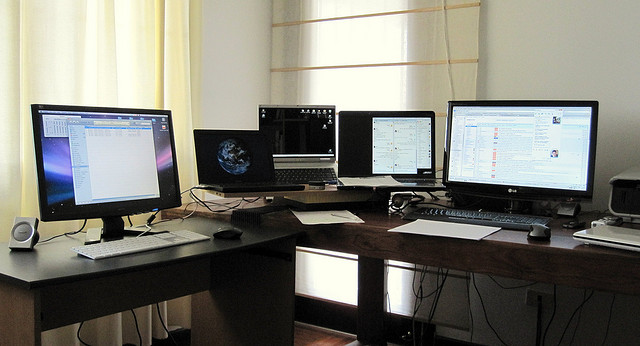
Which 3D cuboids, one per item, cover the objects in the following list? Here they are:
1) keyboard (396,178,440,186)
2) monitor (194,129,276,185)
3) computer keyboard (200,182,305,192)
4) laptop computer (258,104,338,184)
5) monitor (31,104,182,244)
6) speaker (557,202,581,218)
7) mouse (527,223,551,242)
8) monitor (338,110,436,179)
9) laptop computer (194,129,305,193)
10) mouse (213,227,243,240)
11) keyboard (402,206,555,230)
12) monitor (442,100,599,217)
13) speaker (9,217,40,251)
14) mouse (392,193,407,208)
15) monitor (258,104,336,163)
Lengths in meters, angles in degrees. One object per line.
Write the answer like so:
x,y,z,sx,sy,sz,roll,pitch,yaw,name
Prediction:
0.688,0.064,3.194,0.300,0.039,0.170,1,9,8,keyboard
-0.473,-0.090,3.167,0.699,0.382,0.493,1,-6,27,monitor
-0.438,0.091,2.990,0.653,0.057,0.119,-3,10,-11,computer keyboard
-0.156,-0.268,3.289,0.653,0.472,0.467,0,-1,-12,laptop computer
-1.312,-0.017,2.801,0.361,0.779,0.940,2,4,31,monitor
1.638,0.242,2.976,0.162,0.098,0.085,-1,1,-38,speaker
1.257,0.332,2.597,0.116,0.083,0.157,3,10,22,mouse
0.477,-0.214,3.273,0.898,0.491,0.489,0,1,0,monitor
-0.499,-0.071,2.880,0.716,0.342,0.573,2,7,-2,laptop computer
-0.549,0.358,2.692,0.138,0.037,0.074,2,0,8,mouse
0.982,0.285,2.842,0.851,0.064,0.313,3,10,21,keyboard
1.316,-0.114,2.955,0.916,0.591,0.255,2,3,25,monitor
-1.686,0.351,2.570,0.195,0.217,0.131,2,-11,-17,speaker
0.563,0.179,3.176,0.078,0.081,0.228,2,10,19,mouse
-0.185,-0.313,3.598,0.862,0.469,0.430,0,3,-2,monitor
